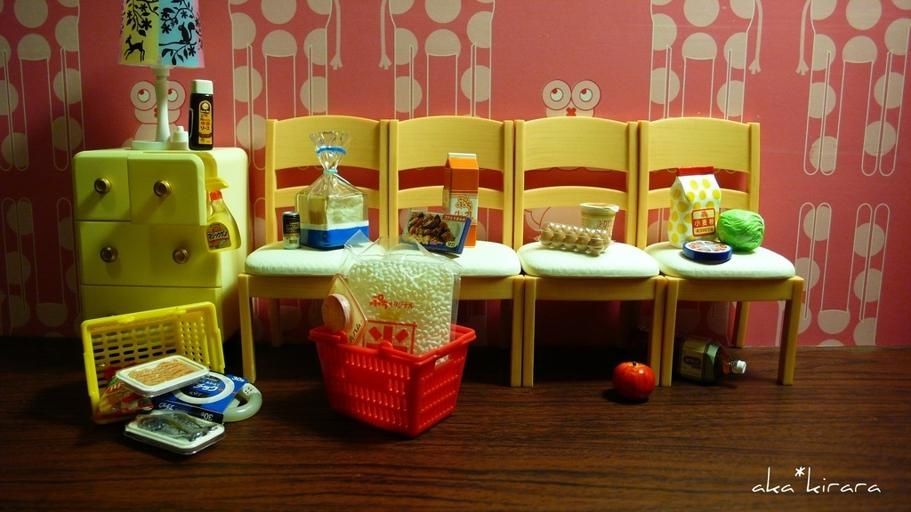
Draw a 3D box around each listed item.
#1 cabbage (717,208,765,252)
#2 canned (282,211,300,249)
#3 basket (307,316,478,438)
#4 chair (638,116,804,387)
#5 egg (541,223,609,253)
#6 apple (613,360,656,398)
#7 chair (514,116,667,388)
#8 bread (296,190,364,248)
[{"bbox_3d":[1.437,-0.121,3.543,0.255,0.228,0.218,3,-2,36],"label":"cabbage"},{"bbox_3d":[-0.800,-0.129,3.410,0.079,0.173,0.044,-1,10,-9],"label":"canned"},{"bbox_3d":[-0.293,0.568,3.336,0.682,0.376,0.522,5,6,33],"label":"basket"},{"bbox_3d":[1.297,-0.045,3.591,0.918,1.216,0.962,12,19,39],"label":"chair"},{"bbox_3d":[0.575,-0.084,3.421,0.311,0.141,0.120,9,1,23],"label":"egg"},{"bbox_3d":[0.864,0.594,3.404,0.220,0.182,0.213,0,12,4],"label":"apple"},{"bbox_3d":[0.653,-0.049,3.563,0.721,1.320,0.516,1,10,0],"label":"chair"},{"bbox_3d":[-0.597,-0.185,3.510,0.296,0.264,0.302,2,4,40],"label":"bread"}]
